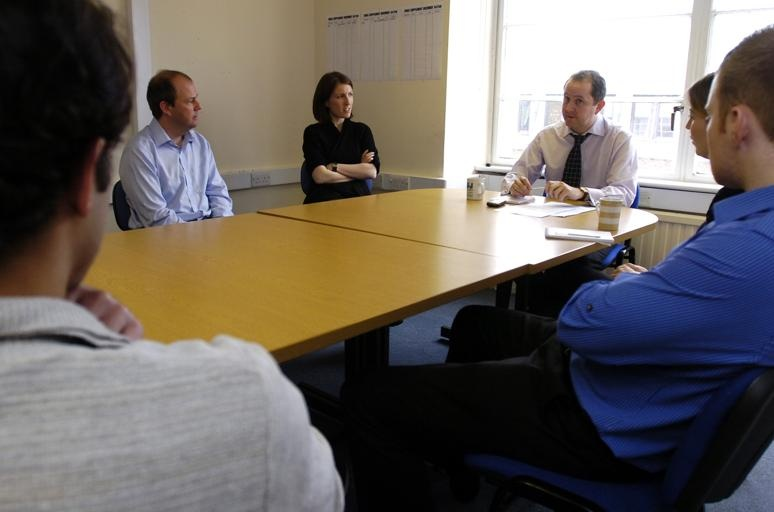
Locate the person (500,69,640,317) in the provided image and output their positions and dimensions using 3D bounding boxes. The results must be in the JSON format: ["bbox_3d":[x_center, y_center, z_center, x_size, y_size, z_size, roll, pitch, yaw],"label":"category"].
[{"bbox_3d":[1.182,-0.290,3.558,0.963,1.728,0.779,-13,17,-30],"label":"person"}]

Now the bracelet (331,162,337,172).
[{"bbox_3d":[-0.364,-0.607,3.738,0.047,0.042,0.071,5,0,-13],"label":"bracelet"}]

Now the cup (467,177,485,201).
[{"bbox_3d":[0.489,-0.374,3.074,0.083,0.131,0.133,-7,13,-29],"label":"cup"}]
